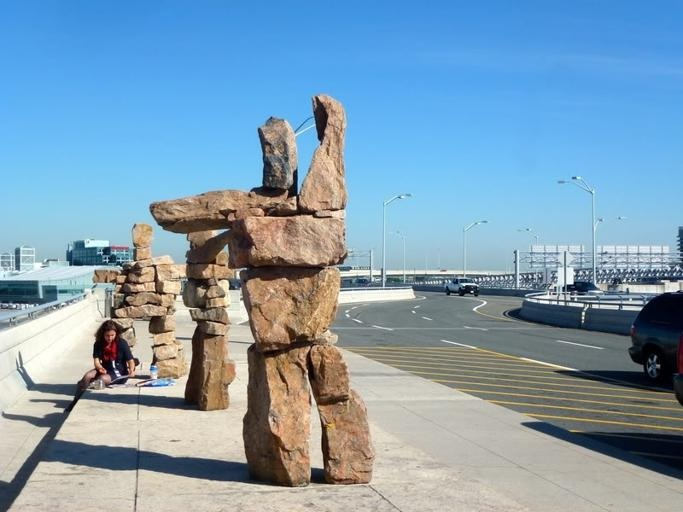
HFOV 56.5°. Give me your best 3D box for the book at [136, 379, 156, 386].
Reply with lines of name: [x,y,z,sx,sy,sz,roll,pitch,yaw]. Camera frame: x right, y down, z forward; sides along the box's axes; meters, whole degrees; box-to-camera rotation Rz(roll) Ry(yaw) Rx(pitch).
book: [-4.241,2.749,13.824,0.304,0.096,0.392,1,0,8]

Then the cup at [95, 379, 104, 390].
cup: [-4.930,2.612,13.020,0.201,0.168,0.184,0,1,0]
